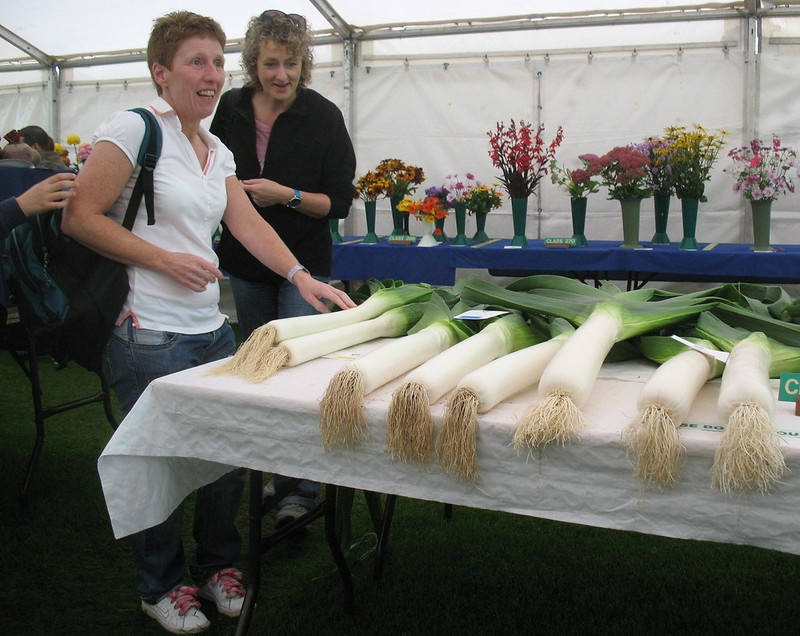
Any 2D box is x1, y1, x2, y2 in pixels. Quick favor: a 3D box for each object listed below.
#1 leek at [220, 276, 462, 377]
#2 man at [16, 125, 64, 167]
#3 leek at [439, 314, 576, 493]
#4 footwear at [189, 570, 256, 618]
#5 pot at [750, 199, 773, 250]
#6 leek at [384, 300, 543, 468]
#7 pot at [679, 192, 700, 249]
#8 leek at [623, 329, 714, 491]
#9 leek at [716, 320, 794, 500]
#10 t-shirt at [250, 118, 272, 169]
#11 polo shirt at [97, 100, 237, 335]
[{"bbox_3d":[-0.139,0.009,1.893,0.234,0.266,0.745,-2,1,41],"label":"leek"},{"bbox_3d":[-2.795,-1.312,5.022,0.286,0.395,0.678,-2,27,-31],"label":"man"},{"bbox_3d":[0.258,0.167,1.467,0.141,0.224,0.491,2,20,38],"label":"leek"},{"bbox_3d":[-0.623,0.892,2.193,0.292,0.148,0.118,-3,1,45],"label":"footwear"},{"bbox_3d":[2.462,-0.652,4.416,0.143,0.332,0.390,6,13,28],"label":"pot"},{"bbox_3d":[0.171,0.138,1.595,0.141,0.218,0.605,20,28,3],"label":"leek"},{"bbox_3d":[2.045,-0.685,4.578,0.125,0.347,0.388,5,13,23],"label":"pot"},{"bbox_3d":[0.576,0.175,1.326,0.107,0.170,0.392,0,22,31],"label":"leek"},{"bbox_3d":[0.729,0.196,1.340,0.123,0.217,0.395,6,14,28],"label":"leek"},{"bbox_3d":[-0.578,-0.741,2.680,0.112,0.173,0.038,-2,6,-41],"label":"t-shirt"},{"bbox_3d":[-0.696,-0.318,2.022,0.228,0.731,0.529,3,3,28],"label":"polo shirt"}]
